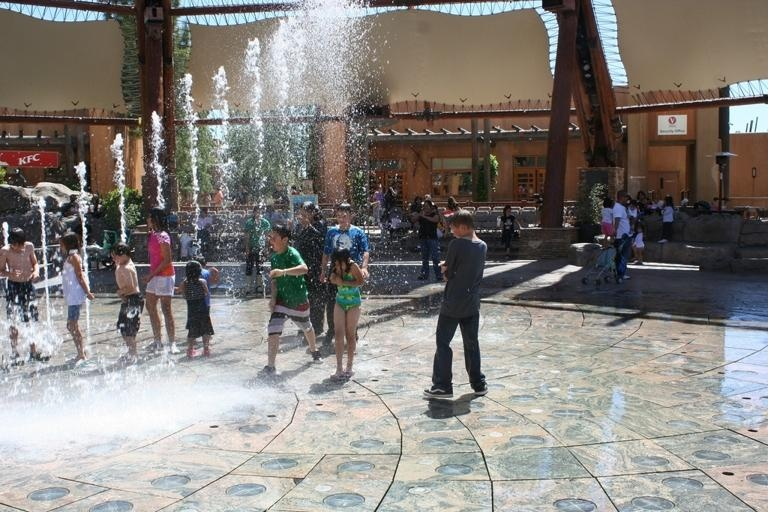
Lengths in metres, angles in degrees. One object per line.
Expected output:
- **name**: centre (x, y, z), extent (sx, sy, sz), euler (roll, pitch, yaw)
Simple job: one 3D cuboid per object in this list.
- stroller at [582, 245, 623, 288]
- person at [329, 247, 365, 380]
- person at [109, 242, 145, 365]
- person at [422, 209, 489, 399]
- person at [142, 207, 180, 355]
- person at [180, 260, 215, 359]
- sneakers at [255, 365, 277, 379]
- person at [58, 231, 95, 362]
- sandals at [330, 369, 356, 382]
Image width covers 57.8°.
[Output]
- **stroller**: centre (5.117, 0.193, 16.347), extent (0.820, 0.942, 0.686), euler (-3, 7, -9)
- **person**: centre (-0.507, 0.789, 9.690), extent (0.483, 1.797, 0.422), euler (-3, 10, -13)
- **person**: centre (-3.963, 0.647, 10.855), extent (0.386, 1.796, 1.009), euler (-4, 11, -22)
- **person**: centre (1.003, 0.608, 9.197), extent (0.762, 2.388, 0.880), euler (3, 11, 17)
- **person**: centre (-3.564, 0.374, 11.070), extent (0.457, 2.262, 0.709), euler (-4, 11, -19)
- **person**: centre (-2.899, 0.794, 10.873), extent (0.412, 1.505, 0.634), euler (-3, 10, -13)
- **sneakers**: centre (-1.648, 1.630, 9.812), extent (0.264, 0.174, 0.141), euler (3, 1, 4)
- **person**: centre (-4.736, 0.596, 10.784), extent (0.379, 1.927, 0.931), euler (-5, 11, -25)
- **sandals**: centre (-0.565, 1.656, 9.660), extent (0.357, 0.116, 0.177), euler (-7, 13, -33)
